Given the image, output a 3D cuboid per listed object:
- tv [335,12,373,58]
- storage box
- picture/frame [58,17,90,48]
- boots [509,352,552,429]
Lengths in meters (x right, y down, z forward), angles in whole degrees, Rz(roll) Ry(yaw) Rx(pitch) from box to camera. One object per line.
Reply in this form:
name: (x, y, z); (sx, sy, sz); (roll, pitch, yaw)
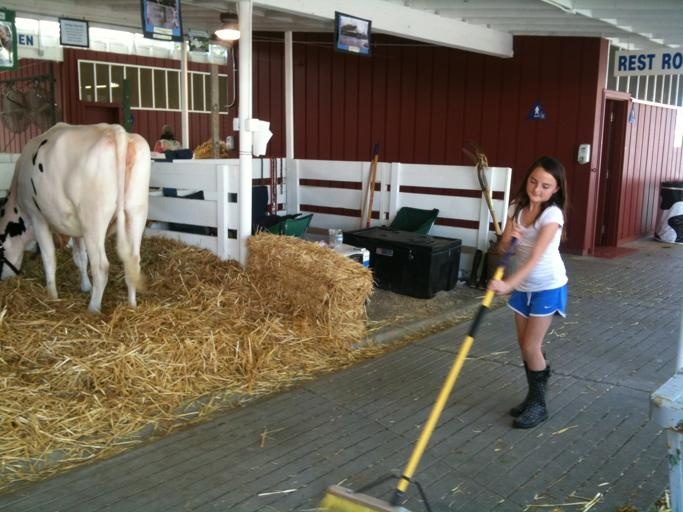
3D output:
tv: (0.111, -2.357, 5.817); (0.377, 0.397, 0.199); (-2, 16, -36)
storage box: (0.687, 0.030, 6.179); (1.151, 0.513, 0.714); (14, 18, 37)
picture/frame: (-3.612, -3.028, 7.358); (0.360, 0.367, 0.229); (-7, 16, -27)
boots: (1.135, 0.834, 3.424); (0.241, 0.357, 0.303); (8, 15, 25)
